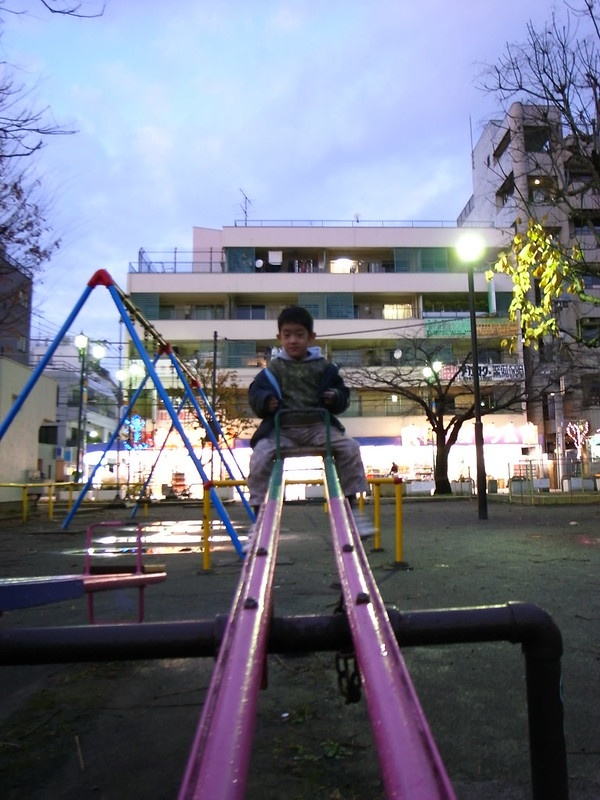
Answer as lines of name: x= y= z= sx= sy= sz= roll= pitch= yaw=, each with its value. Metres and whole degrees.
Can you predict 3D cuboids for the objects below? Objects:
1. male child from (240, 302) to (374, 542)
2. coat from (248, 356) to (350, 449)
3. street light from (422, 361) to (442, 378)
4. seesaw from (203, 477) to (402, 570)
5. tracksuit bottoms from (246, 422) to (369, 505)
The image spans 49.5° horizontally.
male child: x=-0.019 y=0.114 z=3.830 sx=0.852 sy=1.286 sz=0.802 roll=-4 pitch=5 yaw=-37
coat: x=-0.002 y=-0.028 z=3.960 sx=0.605 sy=0.576 sz=0.405 roll=-2 pitch=3 yaw=-3
street light: x=5.018 y=-1.187 z=24.997 sx=0.594 sy=0.391 sz=0.978 roll=-5 pitch=-25 yaw=-26
seesaw: x=0.054 y=1.103 z=6.779 sx=2.210 sy=0.781 sz=1.037 roll=-5 pitch=25 yaw=0
tracksuit bottoms: x=-0.015 y=0.333 z=3.819 sx=0.755 sy=0.488 sz=0.389 roll=-3 pitch=11 yaw=-28
